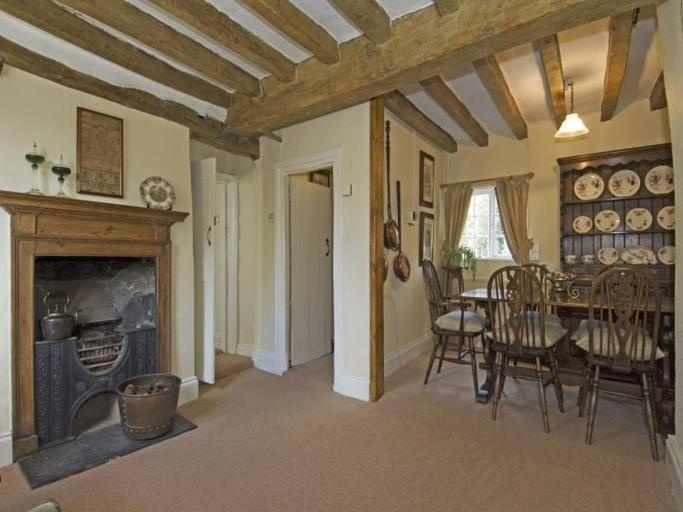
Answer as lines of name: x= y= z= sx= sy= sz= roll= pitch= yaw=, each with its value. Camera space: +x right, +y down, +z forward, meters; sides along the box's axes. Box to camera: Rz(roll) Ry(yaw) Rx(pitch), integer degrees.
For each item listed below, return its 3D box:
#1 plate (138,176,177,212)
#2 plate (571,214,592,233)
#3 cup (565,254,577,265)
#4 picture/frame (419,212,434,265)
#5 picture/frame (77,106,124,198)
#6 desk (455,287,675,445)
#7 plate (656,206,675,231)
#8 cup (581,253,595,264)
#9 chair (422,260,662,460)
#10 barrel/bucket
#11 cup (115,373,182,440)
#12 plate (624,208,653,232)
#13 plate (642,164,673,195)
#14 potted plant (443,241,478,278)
plate: x=-1.724 y=-0.590 z=4.409 sx=0.330 sy=0.313 sz=0.150 roll=-9 pitch=16 yaw=-30
plate: x=2.909 y=-0.381 z=5.660 sx=0.192 sy=0.207 sz=0.051 roll=-17 pitch=-8 yaw=43
cup: x=2.787 y=0.043 z=5.701 sx=0.107 sy=0.079 sz=0.112 roll=0 pitch=-1 yaw=0
picture/frame: x=1.139 y=-0.217 z=6.229 sx=0.032 sy=0.724 sz=0.500 roll=2 pitch=2 yaw=30
picture/frame: x=-2.119 y=-0.889 z=4.107 sx=0.422 sy=0.762 sz=0.216 roll=-8 pitch=15 yaw=-27
desk: x=2.020 y=1.001 z=4.160 sx=1.076 sy=1.078 sz=0.538 roll=-4 pitch=-9 yaw=37
plate: x=3.598 y=-0.399 z=5.148 sx=0.141 sy=0.270 sz=0.259 roll=0 pitch=14 yaw=3
cup: x=2.944 y=0.036 z=5.590 sx=0.106 sy=0.086 sz=0.088 roll=4 pitch=-6 yaw=-14
chair: x=1.861 y=0.989 z=4.272 sx=1.356 sy=1.045 sz=0.513 roll=3 pitch=5 yaw=36
barrel/bucket: x=-1.620 y=1.262 z=4.034 sx=0.442 sy=0.405 sz=0.522 roll=0 pitch=-6 yaw=5
cup: x=-1.620 y=1.252 z=4.029 sx=0.435 sy=0.423 sz=0.523 roll=0 pitch=-6 yaw=2
plate: x=3.389 y=-0.413 z=5.339 sx=0.267 sy=0.251 sz=0.102 roll=9 pitch=17 yaw=33
plate: x=3.540 y=-0.845 z=5.232 sx=0.259 sy=0.314 sz=0.162 roll=5 pitch=15 yaw=22
potted plant: x=1.630 y=0.047 z=6.420 sx=0.394 sy=0.313 sz=0.397 roll=9 pitch=-7 yaw=-30
